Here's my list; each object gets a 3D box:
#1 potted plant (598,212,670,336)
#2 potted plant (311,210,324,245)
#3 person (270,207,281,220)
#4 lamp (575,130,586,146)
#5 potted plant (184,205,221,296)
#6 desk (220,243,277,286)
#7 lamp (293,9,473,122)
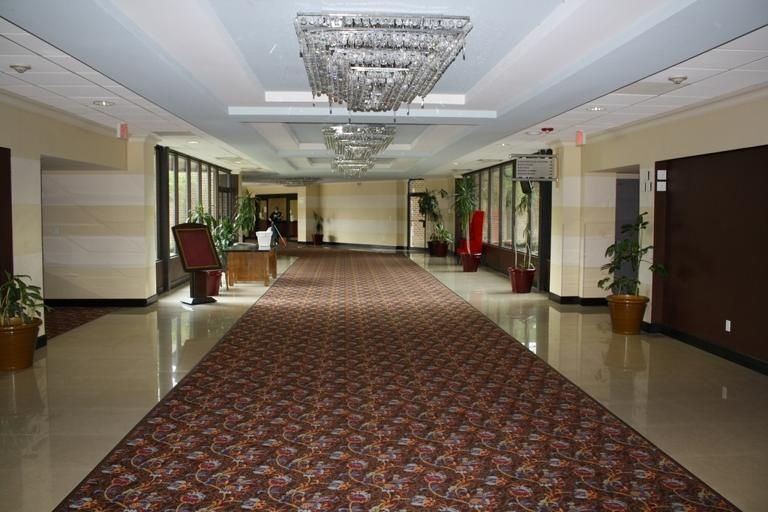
[{"bbox_3d":[4.067,0.301,7.709,0.984,1.979,1.167,0,5,-3],"label":"potted plant"},{"bbox_3d":[-3.535,-1.499,24.706,0.513,1.769,0.767,-1,4,-8],"label":"potted plant"},{"bbox_3d":[-6.677,-2.638,28.500,0.552,0.809,1.356,-2,5,-13],"label":"person"},{"bbox_3d":[3.408,-2.091,8.002,0.097,0.263,0.505,1,5,27],"label":"lamp"},{"bbox_3d":[-4.522,-0.435,11.597,0.680,1.548,0.710,-10,-14,-41],"label":"potted plant"},{"bbox_3d":[-3.601,0.200,12.201,1.062,0.862,1.881,1,5,-1],"label":"desk"},{"bbox_3d":[-0.157,-2.163,5.447,1.913,0.392,1.940,-4,0,-9],"label":"lamp"}]
